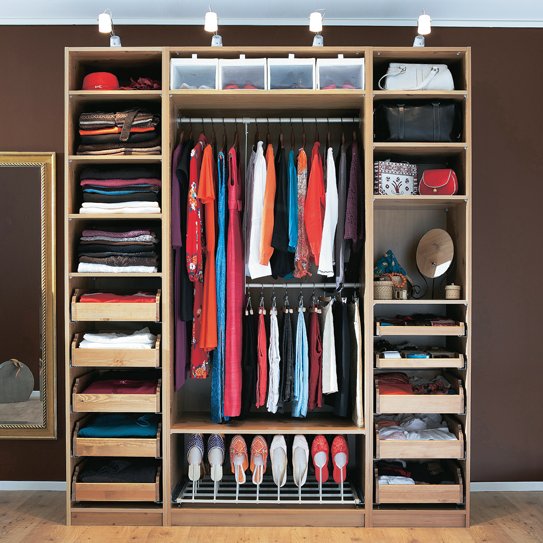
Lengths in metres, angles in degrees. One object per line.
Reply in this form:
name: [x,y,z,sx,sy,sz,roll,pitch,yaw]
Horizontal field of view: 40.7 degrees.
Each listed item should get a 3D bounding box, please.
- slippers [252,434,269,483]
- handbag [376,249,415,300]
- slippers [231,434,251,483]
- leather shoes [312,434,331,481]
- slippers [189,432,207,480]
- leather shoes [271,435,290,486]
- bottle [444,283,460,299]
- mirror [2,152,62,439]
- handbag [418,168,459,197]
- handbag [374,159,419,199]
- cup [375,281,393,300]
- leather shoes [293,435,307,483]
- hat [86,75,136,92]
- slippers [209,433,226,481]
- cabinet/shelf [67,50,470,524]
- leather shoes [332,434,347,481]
slippers: [-0.062,1.126,4.397,0.092,0.298,0.110,0,-12,4]
handbag: [0.716,0.030,4.451,0.095,0.292,0.257,5,-12,-45]
slippers: [-0.180,1.110,4.373,0.096,0.307,0.114,-2,-22,1]
leather shoes: [0.295,1.094,4.352,0.104,0.281,0.053,-3,-6,28]
slippers: [-0.447,1.077,4.381,0.094,0.333,0.123,-1,-23,-2]
leather shoes: [0.052,1.123,4.371,0.095,0.301,0.068,-3,-3,14]
bottle: [1.068,0.117,4.302,0.075,0.087,0.075,-3,4,-38]
mirror: [-1.546,0.156,4.694,0.386,1.806,0.073,0,0,5]
handbag: [0.977,-0.506,4.321,0.264,0.230,0.135,1,2,18]
handbag: [0.723,-0.554,4.418,0.296,0.327,0.183,0,9,-7]
cup: [0.660,0.111,4.315,0.098,0.097,0.101,0,-1,0]
leather shoes: [0.176,1.116,4.366,0.080,0.258,0.059,-2,-10,11]
hat: [-0.996,-1.098,4.371,0.200,0.089,0.164,2,0,-4]
slippers: [-0.326,1.111,4.368,0.085,0.299,0.085,-1,-14,-2]
cabinet/shelf: [-0.029,0.104,4.336,2.377,3.165,0.681,0,3,1]
leather shoes: [0.404,1.104,4.358,0.092,0.275,0.067,-1,-2,24]
